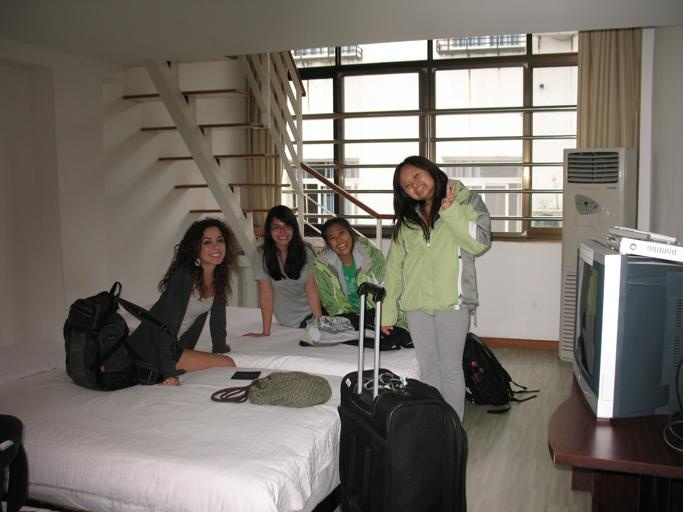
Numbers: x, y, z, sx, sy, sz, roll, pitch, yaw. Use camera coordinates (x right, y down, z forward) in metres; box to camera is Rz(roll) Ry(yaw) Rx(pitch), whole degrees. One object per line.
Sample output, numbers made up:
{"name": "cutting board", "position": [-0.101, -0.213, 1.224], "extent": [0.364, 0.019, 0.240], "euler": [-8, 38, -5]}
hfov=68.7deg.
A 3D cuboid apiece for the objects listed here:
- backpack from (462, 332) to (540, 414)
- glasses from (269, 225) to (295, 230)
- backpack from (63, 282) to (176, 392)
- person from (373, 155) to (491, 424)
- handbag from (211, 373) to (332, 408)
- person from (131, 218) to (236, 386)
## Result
{"name": "backpack", "position": [1.029, 0.754, 3.561], "extent": [0.430, 0.553, 0.419], "euler": [-20, 3, -30]}
{"name": "glasses", "position": [-0.415, -0.200, 3.439], "extent": [0.137, 0.048, 0.022], "euler": [-1, 10, -6]}
{"name": "backpack", "position": [-1.197, 0.451, 2.668], "extent": [0.468, 0.477, 0.363], "euler": [14, 15, 4]}
{"name": "person", "position": [0.511, 0.257, 2.748], "extent": [0.550, 1.574, 0.398], "euler": [-2, 9, 23]}
{"name": "handbag", "position": [-0.305, 0.636, 2.399], "extent": [0.391, 0.108, 0.239], "euler": [1, -6, 6]}
{"name": "person", "position": [-0.862, 0.248, 2.935], "extent": [0.572, 0.929, 0.567], "euler": [12, 4, -7]}
